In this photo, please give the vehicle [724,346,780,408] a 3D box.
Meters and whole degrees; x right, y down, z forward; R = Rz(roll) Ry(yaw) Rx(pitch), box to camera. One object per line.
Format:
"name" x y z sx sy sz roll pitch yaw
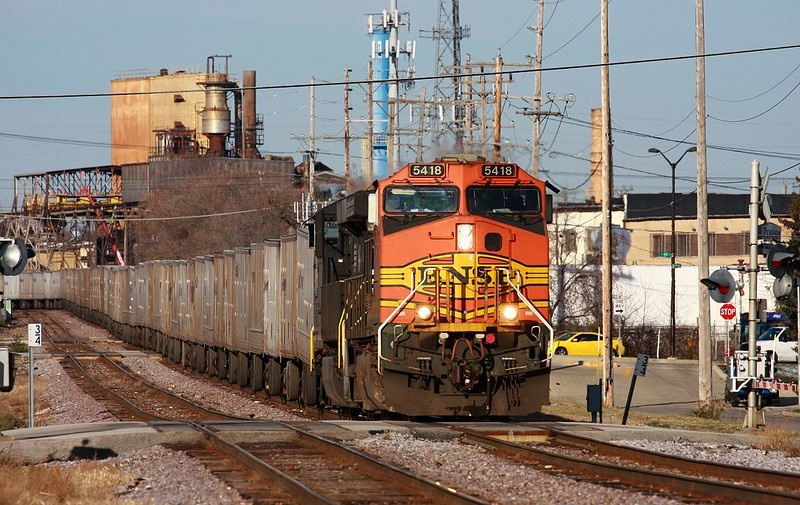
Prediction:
"vehicle" 11.776 4.100 40.633 1.674 1.838 2.915 -1 2 16
